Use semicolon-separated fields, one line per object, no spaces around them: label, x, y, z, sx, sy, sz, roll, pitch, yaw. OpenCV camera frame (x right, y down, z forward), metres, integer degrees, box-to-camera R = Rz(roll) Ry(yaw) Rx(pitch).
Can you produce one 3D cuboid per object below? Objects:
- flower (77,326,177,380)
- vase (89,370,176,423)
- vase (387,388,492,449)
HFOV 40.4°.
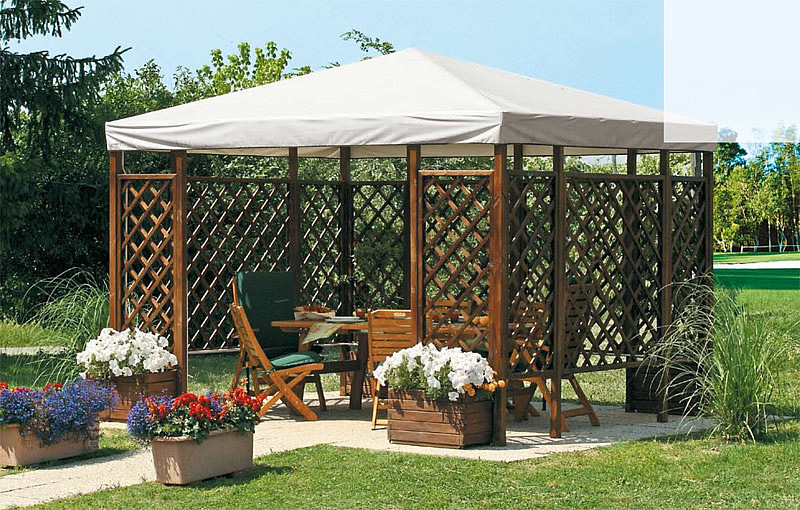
flower;-3.430;1.271;13.614;0.752;0.521;0.794;0;-3;25
vase;-3.298;1.700;13.700;0.750;0.531;0.810;-1;-2;34
vase;0.504;1.712;12.637;0.893;0.565;0.654;-1;-2;38
